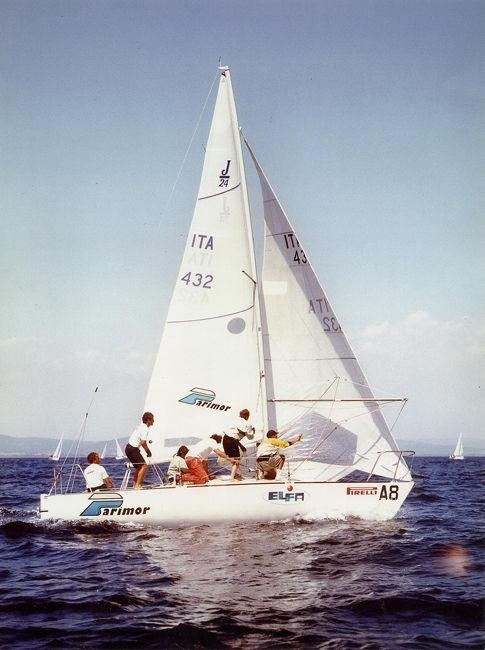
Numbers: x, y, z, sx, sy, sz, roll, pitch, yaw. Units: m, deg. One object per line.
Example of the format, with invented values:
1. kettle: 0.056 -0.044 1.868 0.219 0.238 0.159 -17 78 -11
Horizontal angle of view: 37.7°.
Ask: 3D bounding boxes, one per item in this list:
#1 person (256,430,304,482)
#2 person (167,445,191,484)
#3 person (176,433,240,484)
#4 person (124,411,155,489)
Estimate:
1. person: 0.403 1.827 10.049 0.429 0.644 1.035 0 -6 1
2. person: -0.914 1.962 9.905 0.272 0.510 0.740 1 -6 -6
3. person: -0.537 1.932 10.017 0.826 0.538 0.463 9 -13 -36
4. person: -1.486 1.779 10.120 0.391 1.055 1.107 1 -6 -8
